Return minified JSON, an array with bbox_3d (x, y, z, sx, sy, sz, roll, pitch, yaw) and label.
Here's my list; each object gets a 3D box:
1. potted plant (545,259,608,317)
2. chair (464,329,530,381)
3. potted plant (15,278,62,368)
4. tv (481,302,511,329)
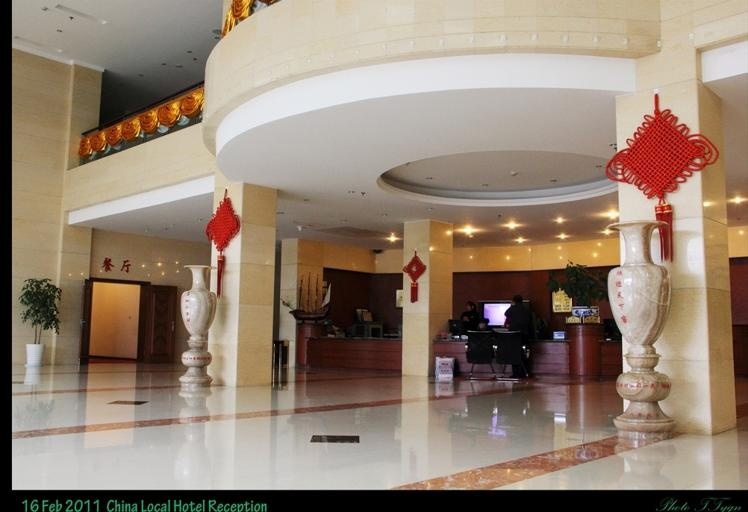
[{"bbox_3d":[4.947,0.650,12.838,1.060,0.717,1.086,8,1,40],"label":"potted plant"},{"bbox_3d":[2.777,2.068,12.398,1.572,1.264,1.208,-1,0,17],"label":"chair"},{"bbox_3d":[-8.594,1.659,14.058,0.916,2.270,1.222,2,-8,-23],"label":"potted plant"},{"bbox_3d":[3.426,1.683,15.418,0.805,0.861,0.477,-8,1,33],"label":"tv"}]
